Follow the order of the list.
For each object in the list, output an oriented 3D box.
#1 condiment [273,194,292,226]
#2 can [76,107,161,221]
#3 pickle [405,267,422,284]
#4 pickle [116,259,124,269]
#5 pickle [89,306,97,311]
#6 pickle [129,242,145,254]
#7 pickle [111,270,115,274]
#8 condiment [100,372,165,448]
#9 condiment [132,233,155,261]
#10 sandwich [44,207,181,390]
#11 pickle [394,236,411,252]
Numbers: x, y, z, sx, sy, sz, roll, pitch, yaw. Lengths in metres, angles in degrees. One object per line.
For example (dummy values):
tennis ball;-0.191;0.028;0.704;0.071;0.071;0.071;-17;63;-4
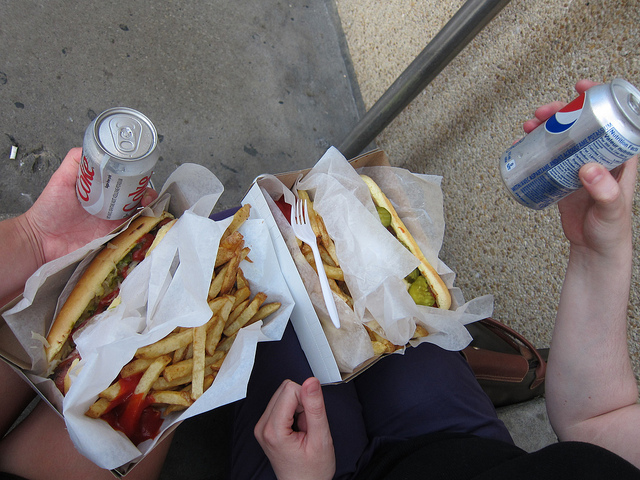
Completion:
condiment;-0.148;-0.113;2.090;0.060;0.107;0.023;-15;-17;-43
can;-0.678;-0.245;1.831;0.219;0.234;0.373;-29;-10;-37
pickle;0.352;0.132;2.052;0.019;0.050;0.055;45;-7;22
pickle;-0.680;0.083;1.863;0.008;0.036;0.010;21;15;-47
pickle;-0.761;0.230;1.831;0.011;0.017;0.019;17;5;16
pickle;-0.630;0.024;1.891;0.062;0.016;0.018;-39;34;-2
pickle;-0.697;0.108;1.839;0.005;0.015;0.013;32;9;14
condiment;-0.600;0.543;1.755;0.148;0.230;0.145;-26;-8;16
condiment;-0.611;0.027;1.896;0.055;0.104;0.037;26;-18;-21
sandwich;-0.748;0.164;1.978;0.318;0.644;0.186;39;-14;-17
pickle;0.323;0.017;2.082;0.012;0.042;0.042;-31;-55;19
